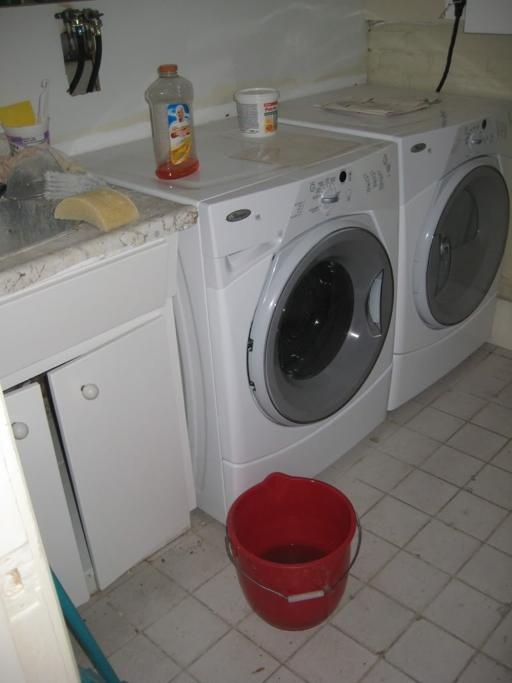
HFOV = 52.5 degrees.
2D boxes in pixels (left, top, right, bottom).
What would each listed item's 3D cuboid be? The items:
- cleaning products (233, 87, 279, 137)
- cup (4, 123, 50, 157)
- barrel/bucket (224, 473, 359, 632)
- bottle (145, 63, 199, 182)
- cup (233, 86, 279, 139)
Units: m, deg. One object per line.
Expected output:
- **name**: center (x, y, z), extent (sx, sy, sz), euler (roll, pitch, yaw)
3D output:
- **cleaning products**: center (0.006, -0.659, 1.489), extent (0.127, 0.120, 0.131), euler (-16, 42, -18)
- **cup**: center (-0.512, -0.454, 1.158), extent (0.079, 0.060, 0.072), euler (-30, 53, -18)
- **barrel/bucket**: center (0.086, 0.495, 1.214), extent (0.279, 0.253, 0.295), euler (-4, 30, 2)
- **bottle**: center (-0.210, -0.541, 1.271), extent (0.121, 0.231, 0.331), euler (-5, 28, -5)
- **cup**: center (0.007, -0.659, 1.488), extent (0.127, 0.119, 0.136), euler (-1, 40, 1)
